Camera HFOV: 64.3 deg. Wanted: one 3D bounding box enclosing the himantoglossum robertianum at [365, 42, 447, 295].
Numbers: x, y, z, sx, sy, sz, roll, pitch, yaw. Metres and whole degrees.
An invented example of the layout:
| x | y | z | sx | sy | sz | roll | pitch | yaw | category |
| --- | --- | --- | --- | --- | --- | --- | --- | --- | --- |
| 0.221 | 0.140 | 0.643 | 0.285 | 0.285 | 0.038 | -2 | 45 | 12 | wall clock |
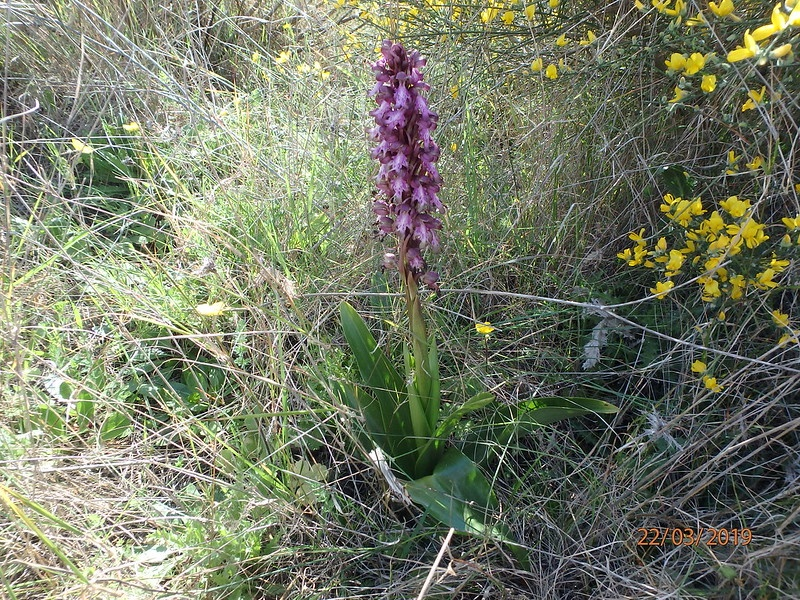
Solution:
| x | y | z | sx | sy | sz | roll | pitch | yaw | category |
| --- | --- | --- | --- | --- | --- | --- | --- | --- | --- |
| 0.036 | -0.605 | 2.973 | 0.333 | 1.027 | 0.485 | 6 | 40 | 17 | himantoglossum robertianum |
